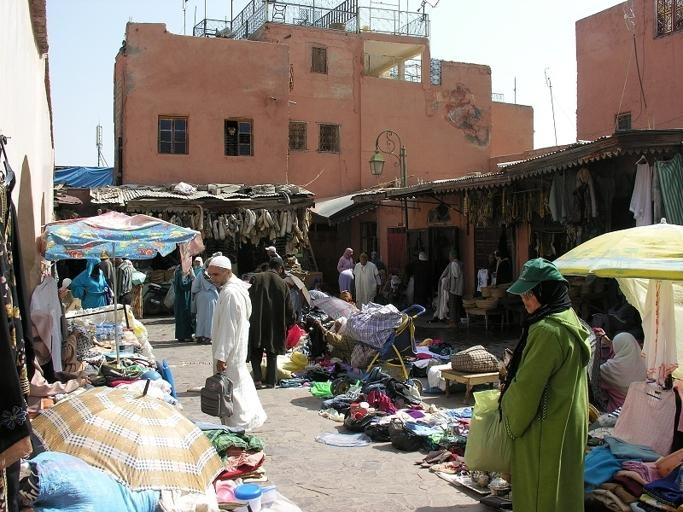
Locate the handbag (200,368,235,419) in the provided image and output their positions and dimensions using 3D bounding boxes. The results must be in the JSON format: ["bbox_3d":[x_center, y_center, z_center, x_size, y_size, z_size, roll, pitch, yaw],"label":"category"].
[{"bbox_3d":[-1.276,1.428,8.066,0.335,0.465,0.250,11,10,29],"label":"handbag"}]

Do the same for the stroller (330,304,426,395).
[{"bbox_3d":[0.654,1.245,11.098,1.421,1.364,0.907,2,-5,6],"label":"stroller"}]

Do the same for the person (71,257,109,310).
[{"bbox_3d":[-4.260,0.495,13.265,0.761,1.043,0.387,1,-12,-39],"label":"person"}]

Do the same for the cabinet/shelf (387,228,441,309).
[{"bbox_3d":[1.804,0.323,19.966,1.106,2.025,2.991,-8,9,-9],"label":"cabinet/shelf"}]

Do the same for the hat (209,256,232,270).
[{"bbox_3d":[-1.315,0.072,8.481,0.187,0.160,0.144,11,0,5],"label":"hat"}]

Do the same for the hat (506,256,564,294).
[{"bbox_3d":[1.678,0.176,6.704,0.530,0.304,0.351,-4,-6,-12],"label":"hat"}]

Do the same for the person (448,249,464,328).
[{"bbox_3d":[2.552,0.709,17.490,0.352,1.528,0.903,-2,10,23],"label":"person"}]

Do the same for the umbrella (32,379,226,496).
[{"bbox_3d":[-1.731,1.580,6.446,1.407,0.863,0.735,-9,10,-12],"label":"umbrella"}]

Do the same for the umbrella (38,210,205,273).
[{"bbox_3d":[-2.800,-0.190,9.919,1.209,0.768,2.077,-1,11,32],"label":"umbrella"}]

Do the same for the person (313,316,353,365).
[{"bbox_3d":[-0.111,1.299,11.861,0.285,0.265,0.698,-12,16,-11],"label":"person"}]

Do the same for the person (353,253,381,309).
[{"bbox_3d":[0.559,0.723,18.958,0.724,1.573,0.595,0,28,6],"label":"person"}]

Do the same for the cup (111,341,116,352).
[{"bbox_3d":[-2.881,1.147,9.827,0.039,0.123,0.085,6,-5,-36],"label":"cup"}]
